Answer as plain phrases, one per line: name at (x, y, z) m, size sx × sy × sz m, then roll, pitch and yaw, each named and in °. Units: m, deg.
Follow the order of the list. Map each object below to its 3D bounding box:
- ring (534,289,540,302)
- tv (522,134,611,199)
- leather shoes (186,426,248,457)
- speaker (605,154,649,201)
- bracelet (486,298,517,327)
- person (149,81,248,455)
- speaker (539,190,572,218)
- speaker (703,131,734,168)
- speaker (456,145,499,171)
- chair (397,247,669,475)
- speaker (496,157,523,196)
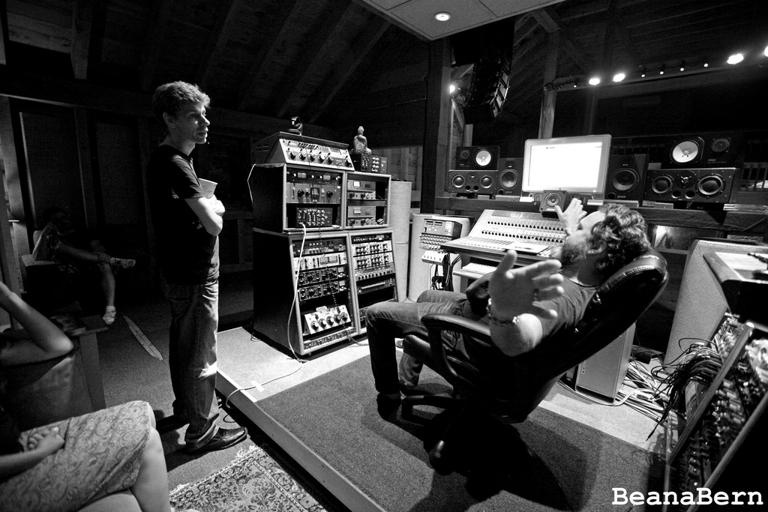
ring at (1.054, 0.259, 3.451) m, size 0.037 × 0.080 × 0.020 m, roll 10°, pitch 15°, yaw 36°
tv at (1.882, -0.901, 5.103) m, size 0.747 × 0.520 × 0.100 m, roll 5°, pitch 12°, yaw 30°
leather shoes at (-1.455, 1.575, 4.498) m, size 0.539 × 0.224 × 0.194 m, roll -8°, pitch 11°, yaw -34°
speaker at (2.497, -0.807, 5.137) m, size 0.340 × 0.457 × 0.288 m, roll 12°, pitch 23°, yaw 37°
bracelet at (0.836, 0.394, 3.583) m, size 0.158 × 0.057 × 0.187 m, roll 29°, pitch 6°, yaw -28°
person at (-1.617, 0.127, 4.287) m, size 0.548 × 3.100 × 0.635 m, roll -7°, pitch 14°, yaw -31°
speaker at (1.746, -0.541, 5.210) m, size 0.271 × 0.260 × 0.264 m, roll 2°, pitch 5°, yaw -40°
speaker at (3.232, -0.975, 4.838) m, size 0.193 × 0.308 × 0.165 m, roll 11°, pitch -21°, yaw 29°
speaker at (1.077, -1.119, 5.771) m, size 0.482 × 0.302 × 0.292 m, roll 4°, pitch 10°, yaw 29°
chair at (0.971, 0.669, 4.269) m, size 1.412 × 2.135 × 1.451 m, roll -7°, pitch 27°, yaw -38°
speaker at (1.385, -0.873, 5.521) m, size 0.269 × 0.401 × 0.244 m, roll 4°, pitch 12°, yaw 11°
